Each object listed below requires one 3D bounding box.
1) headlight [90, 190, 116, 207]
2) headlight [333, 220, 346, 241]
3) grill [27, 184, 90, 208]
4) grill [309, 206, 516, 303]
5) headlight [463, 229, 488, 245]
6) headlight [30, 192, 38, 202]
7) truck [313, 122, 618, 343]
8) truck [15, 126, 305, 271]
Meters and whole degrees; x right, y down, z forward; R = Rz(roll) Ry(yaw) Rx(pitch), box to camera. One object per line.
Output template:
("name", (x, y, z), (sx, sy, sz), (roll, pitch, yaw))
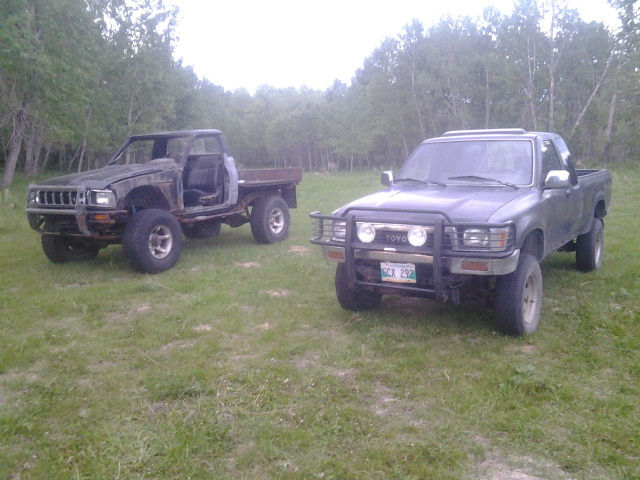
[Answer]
("headlight", (-3.763, -0.720, 8.713), (0.387, 0.295, 0.112), (-1, 10, -7))
("headlight", (0.251, -0.123, 6.427), (0.197, 0.226, 0.049), (5, -1, 36))
("grill", (-4.572, -0.762, 8.827), (1.290, 0.431, 0.198), (5, 11, 23))
("grill", (1.086, 0.147, 6.071), (2.325, 1.070, 0.567), (6, 12, 28))
("headlight", (1.763, -0.030, 5.694), (0.175, 0.204, 0.120), (1, 2, 15))
("headlight", (-5.149, -0.769, 9.043), (0.152, 0.177, 0.041), (2, -3, 22))
("truck", (2.378, -0.369, 7.377), (2.336, 2.186, 4.482), (1, 10, 34))
("truck", (-3.608, -1.020, 10.898), (4.429, 2.643, 4.876), (5, 12, 22))
